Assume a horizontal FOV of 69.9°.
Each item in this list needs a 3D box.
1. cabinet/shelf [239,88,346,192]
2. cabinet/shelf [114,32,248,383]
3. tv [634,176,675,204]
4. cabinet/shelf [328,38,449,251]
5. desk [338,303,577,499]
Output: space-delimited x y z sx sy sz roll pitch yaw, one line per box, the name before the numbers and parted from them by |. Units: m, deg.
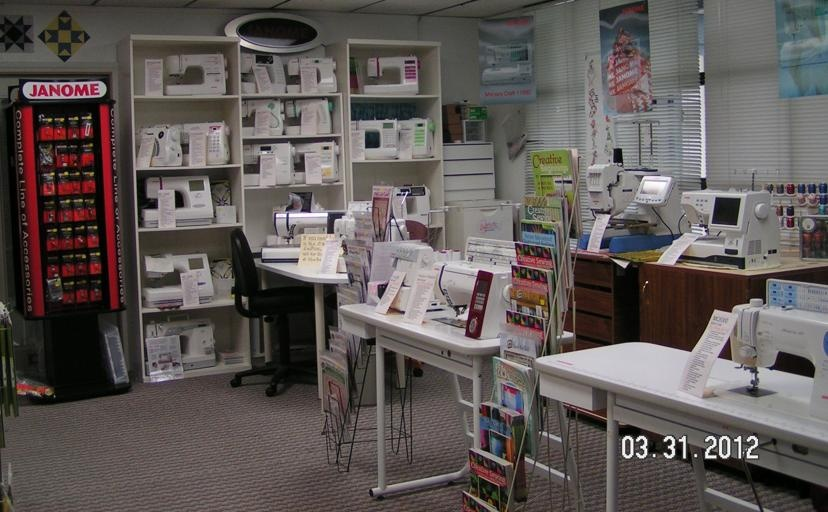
cabinet/shelf | -1.307 -1.247 6.230 1.173 1.012 0.382 -1 -1 -15
cabinet/shelf | -2.320 -0.980 5.958 0.905 2.395 0.469 0 -3 -25
tv | 1.864 -0.488 4.636 0.276 0.262 0.231 1 -12 40
cabinet/shelf | -0.269 -1.700 6.744 1.042 2.334 0.593 1 -9 -12
desk | 0.351 0.934 3.953 1.245 1.212 1.497 -3 6 -37
